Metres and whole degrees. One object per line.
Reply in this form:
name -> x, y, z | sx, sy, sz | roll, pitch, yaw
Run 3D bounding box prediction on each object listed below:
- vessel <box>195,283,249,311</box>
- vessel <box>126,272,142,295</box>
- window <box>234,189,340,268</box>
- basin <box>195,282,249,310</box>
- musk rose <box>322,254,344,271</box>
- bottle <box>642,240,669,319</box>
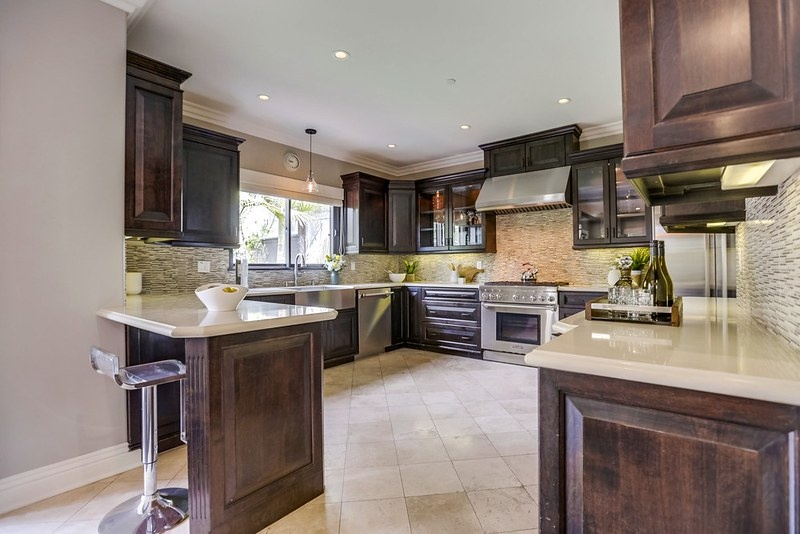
vessel -> -1.122, 0.209, 3.359 | 0.225, 0.106, 0.215 | -1, -8, 2
vessel -> -2.194, 0.143, 4.315 | 0.100, 0.184, 0.126 | -3, 8, -17
window -> -1.295, -0.410, 6.027 | 0.452, 0.866, 1.305 | 5, 10, 38
basin -> -1.134, 0.193, 3.354 | 0.224, 0.106, 0.212 | -1, -8, 0
musk rose -> -0.783, -0.052, 6.201 | 0.211, 0.194, 0.204 | -3, -1, 7
bottle -> 1.413, 0.037, 2.888 | 0.135, 0.352, 0.201 | 5, 10, 35
